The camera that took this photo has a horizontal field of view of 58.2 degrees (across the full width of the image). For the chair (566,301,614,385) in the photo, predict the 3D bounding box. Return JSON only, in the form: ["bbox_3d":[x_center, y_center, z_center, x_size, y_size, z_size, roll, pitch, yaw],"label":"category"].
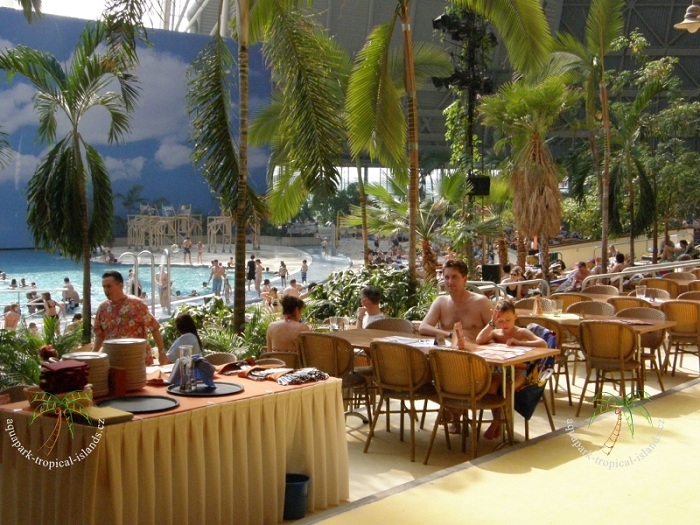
[{"bbox_3d":[3.053,0.938,7.885,0.813,1.211,0.829,-1,-6,23],"label":"chair"}]

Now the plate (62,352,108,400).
[{"bbox_3d":[-1.636,0.687,3.918,0.247,0.239,0.263,2,-1,1],"label":"plate"}]

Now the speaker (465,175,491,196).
[{"bbox_3d":[2.936,-1.799,14.278,0.455,0.584,1.288,-3,-4,13],"label":"speaker"}]

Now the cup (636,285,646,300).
[{"bbox_3d":[3.886,0.397,8.357,0.164,0.205,0.172,0,-1,0],"label":"cup"}]

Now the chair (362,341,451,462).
[{"bbox_3d":[0.565,1.165,5.934,0.795,1.429,0.855,3,4,41],"label":"chair"}]

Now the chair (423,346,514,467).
[{"bbox_3d":[1.040,1.217,5.426,0.652,1.055,0.620,0,-1,-36],"label":"chair"}]

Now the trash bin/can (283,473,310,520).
[{"bbox_3d":[-0.365,1.593,4.326,0.210,0.183,0.204,4,-4,-9],"label":"trash bin/can"}]

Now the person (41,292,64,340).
[{"bbox_3d":[-6.199,1.061,13.003,0.291,1.003,0.314,19,27,36],"label":"person"}]

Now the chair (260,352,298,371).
[{"bbox_3d":[-0.672,0.929,6.051,0.336,0.159,0.123,-3,-3,2],"label":"chair"}]

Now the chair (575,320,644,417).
[{"bbox_3d":[2.823,1.071,6.802,0.608,1.122,0.714,1,9,41],"label":"chair"}]

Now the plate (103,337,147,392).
[{"bbox_3d":[-1.435,0.644,4.073,0.280,0.352,0.306,0,-1,-1],"label":"plate"}]

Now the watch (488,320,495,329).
[{"bbox_3d":[1.337,0.582,5.967,0.047,0.072,0.024,10,-4,-17],"label":"watch"}]

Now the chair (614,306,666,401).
[{"bbox_3d":[3.627,1.190,7.761,0.439,0.737,0.399,-3,-9,17],"label":"chair"}]

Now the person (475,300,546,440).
[{"bbox_3d":[1.477,0.917,5.847,0.550,1.118,0.489,-6,2,-23],"label":"person"}]
